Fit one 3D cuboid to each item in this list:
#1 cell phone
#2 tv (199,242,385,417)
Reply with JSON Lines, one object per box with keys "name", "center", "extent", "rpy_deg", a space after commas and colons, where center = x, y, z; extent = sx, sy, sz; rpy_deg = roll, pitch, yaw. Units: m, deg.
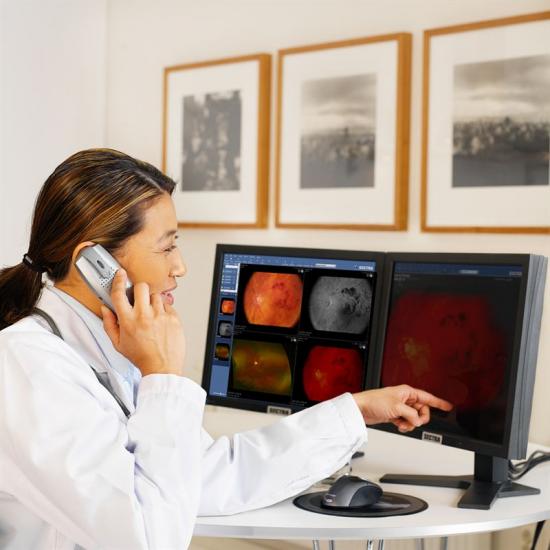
{"name": "cell phone", "center": [-0.310, 0.015, 0.981], "extent": [0.073, 0.133, 0.049], "rpy_deg": [-35, 6, 28]}
{"name": "tv", "center": [0.049, 0.143, 1.289], "extent": [0.485, 0.401, 0.037], "rpy_deg": [6, -4, 30]}
